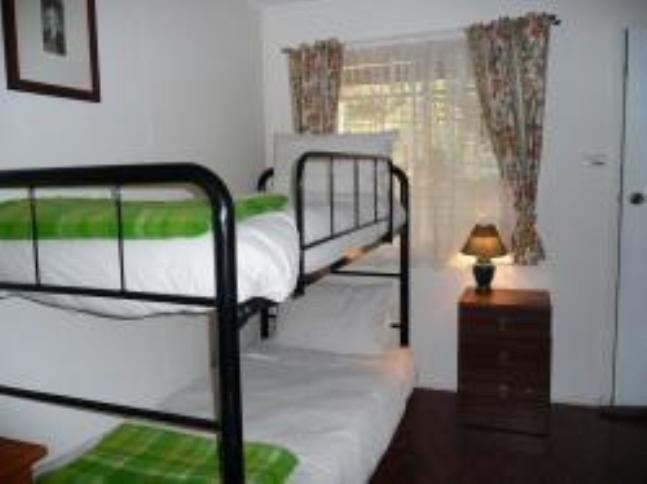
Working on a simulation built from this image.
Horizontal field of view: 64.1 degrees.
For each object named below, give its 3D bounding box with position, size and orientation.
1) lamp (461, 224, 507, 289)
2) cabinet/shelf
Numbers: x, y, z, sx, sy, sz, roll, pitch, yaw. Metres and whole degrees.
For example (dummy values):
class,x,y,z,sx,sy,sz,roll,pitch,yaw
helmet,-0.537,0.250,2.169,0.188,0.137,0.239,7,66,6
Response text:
class,x,y,z,sx,sy,sz,roll,pitch,yaw
lamp,0.866,0.089,2.784,0.221,0.386,0.241,-8,13,-25
cabinet/shelf,0.951,0.662,2.750,0.449,0.852,0.293,-4,14,13
